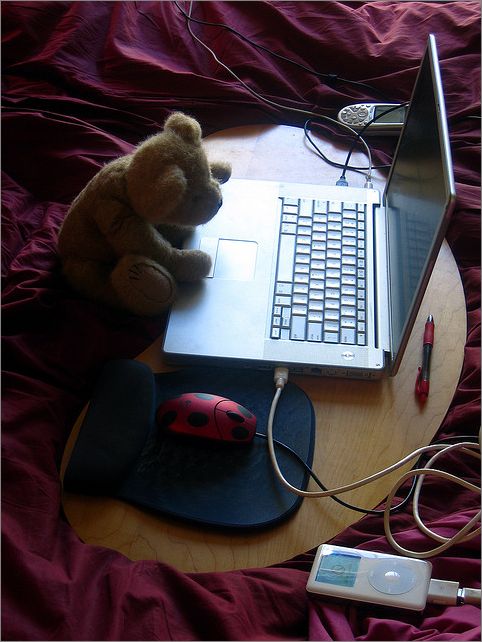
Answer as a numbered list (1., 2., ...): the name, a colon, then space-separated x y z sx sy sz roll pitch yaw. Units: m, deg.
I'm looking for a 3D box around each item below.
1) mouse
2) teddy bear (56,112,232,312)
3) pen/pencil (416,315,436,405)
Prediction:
1. mouse: -0.031 0.092 0.508 0.086 0.025 0.047 5 60 10
2. teddy bear: -0.122 -0.141 0.682 0.188 0.225 0.225 14 42 -15
3. pen/pencil: 0.217 0.042 0.621 0.020 0.017 0.128 35 48 -6
